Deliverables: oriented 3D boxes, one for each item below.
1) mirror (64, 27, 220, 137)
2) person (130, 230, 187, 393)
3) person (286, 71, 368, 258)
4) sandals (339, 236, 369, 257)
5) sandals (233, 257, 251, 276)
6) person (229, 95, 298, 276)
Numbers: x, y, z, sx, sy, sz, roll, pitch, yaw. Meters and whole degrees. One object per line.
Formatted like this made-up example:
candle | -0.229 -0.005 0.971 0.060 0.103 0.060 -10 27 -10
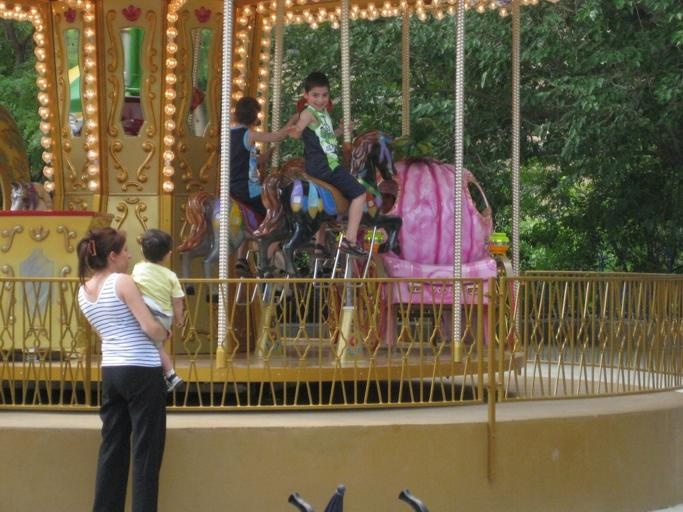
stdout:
mirror | -2.672 -2.328 22.230 1.898 1.444 0.453 -1 1 -11
person | -2.093 0.616 19.227 0.580 1.907 0.569 -2 10 -29
person | -0.171 -1.260 21.568 0.971 2.310 0.539 -1 1 -1
sandals | 0.157 -0.120 21.456 0.388 0.197 0.151 23 3 -13
sandals | -1.287 0.137 21.905 0.155 0.234 0.230 0 -15 -2
person | -1.027 -0.988 21.741 0.707 2.386 0.612 -8 14 -39
